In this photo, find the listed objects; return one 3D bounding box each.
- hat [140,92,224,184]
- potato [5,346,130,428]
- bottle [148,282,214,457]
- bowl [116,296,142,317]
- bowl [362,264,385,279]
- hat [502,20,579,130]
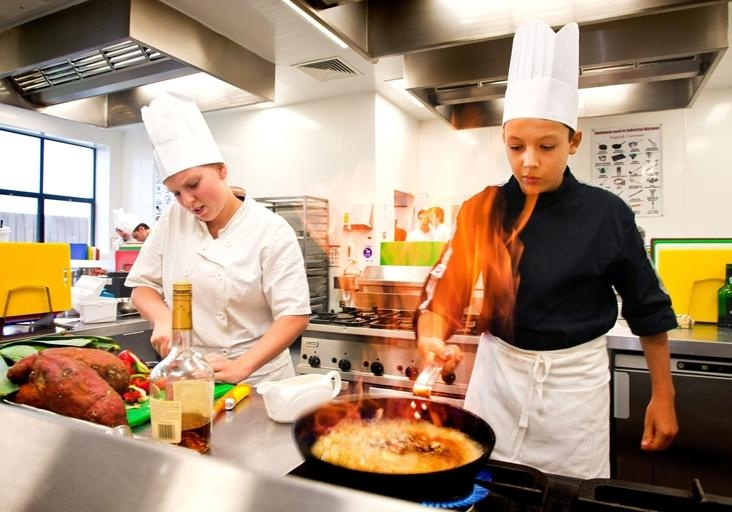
[{"bbox_3d":[-0.731,-0.472,2.011,0.270,0.355,0.220,3,5,43],"label":"hat"},{"bbox_3d":[-0.754,0.307,1.315,0.296,0.142,0.223,13,17,29],"label":"potato"},{"bbox_3d":[-0.477,0.292,1.310,0.165,0.438,0.161,1,5,0],"label":"bottle"},{"bbox_3d":[-1.518,0.327,3.228,0.170,0.101,0.168,0,-5,0],"label":"bowl"},{"bbox_3d":[0.049,0.093,3.082,0.152,0.076,0.100,8,6,7],"label":"bowl"},{"bbox_3d":[0.603,-0.611,1.704,0.267,0.366,0.175,0,4,7],"label":"hat"}]
